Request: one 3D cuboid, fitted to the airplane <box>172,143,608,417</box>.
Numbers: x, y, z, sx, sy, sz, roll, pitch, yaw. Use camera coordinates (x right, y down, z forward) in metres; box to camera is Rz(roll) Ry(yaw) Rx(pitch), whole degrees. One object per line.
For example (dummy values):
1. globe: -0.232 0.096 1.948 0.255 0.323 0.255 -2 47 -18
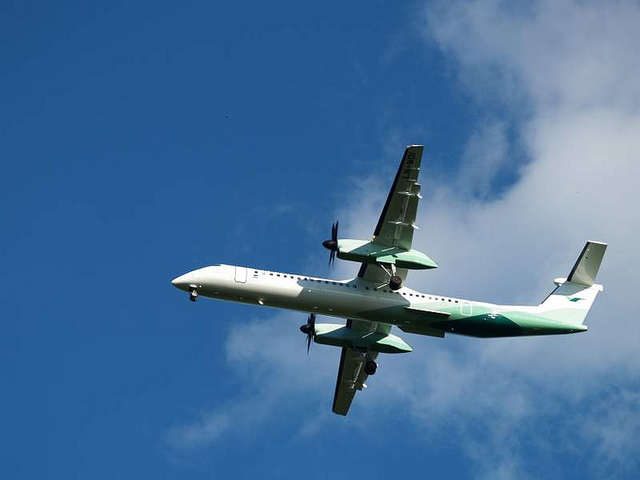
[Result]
1. airplane: 4.381 2.863 67.439 26.014 21.241 6.889 9 -52 3
